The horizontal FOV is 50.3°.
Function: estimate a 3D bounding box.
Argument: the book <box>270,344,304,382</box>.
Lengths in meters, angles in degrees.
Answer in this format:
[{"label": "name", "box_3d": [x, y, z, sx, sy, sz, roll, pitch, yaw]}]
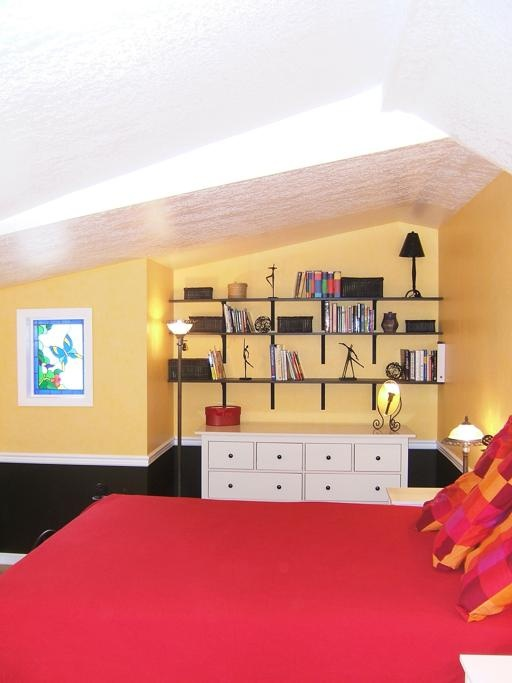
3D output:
[{"label": "book", "box_3d": [0.230, 0.164, 4.268, 0.268, 0.274, 0.143, 0, 4, 12]}]

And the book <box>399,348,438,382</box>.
[{"label": "book", "box_3d": [1.230, 0.185, 4.185, 0.303, 0.238, 0.189, 1, 4, 30]}]

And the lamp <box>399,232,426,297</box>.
[{"label": "lamp", "box_3d": [1.205, -0.604, 4.233, 0.194, 0.520, 0.292, 0, 4, 15]}]

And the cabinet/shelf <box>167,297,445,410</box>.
[{"label": "cabinet/shelf", "box_3d": [0.341, 0.087, 4.442, 2.060, 0.888, 0.302, 0, 6, 13]}]

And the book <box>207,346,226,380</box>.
[{"label": "book", "box_3d": [-0.314, 0.171, 4.359, 0.100, 0.241, 0.256, -6, 1, 12]}]

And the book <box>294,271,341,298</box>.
[{"label": "book", "box_3d": [0.481, -0.442, 4.223, 0.350, 0.218, 0.248, 0, 3, 15]}]

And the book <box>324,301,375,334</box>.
[{"label": "book", "box_3d": [0.716, -0.184, 4.202, 0.379, 0.233, 0.154, 0, 3, 8]}]
